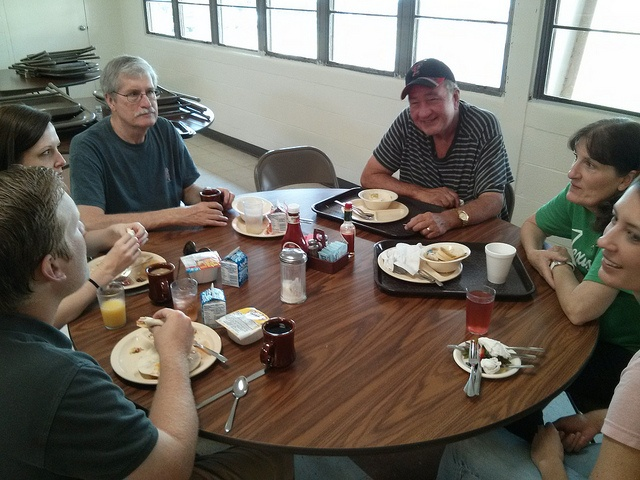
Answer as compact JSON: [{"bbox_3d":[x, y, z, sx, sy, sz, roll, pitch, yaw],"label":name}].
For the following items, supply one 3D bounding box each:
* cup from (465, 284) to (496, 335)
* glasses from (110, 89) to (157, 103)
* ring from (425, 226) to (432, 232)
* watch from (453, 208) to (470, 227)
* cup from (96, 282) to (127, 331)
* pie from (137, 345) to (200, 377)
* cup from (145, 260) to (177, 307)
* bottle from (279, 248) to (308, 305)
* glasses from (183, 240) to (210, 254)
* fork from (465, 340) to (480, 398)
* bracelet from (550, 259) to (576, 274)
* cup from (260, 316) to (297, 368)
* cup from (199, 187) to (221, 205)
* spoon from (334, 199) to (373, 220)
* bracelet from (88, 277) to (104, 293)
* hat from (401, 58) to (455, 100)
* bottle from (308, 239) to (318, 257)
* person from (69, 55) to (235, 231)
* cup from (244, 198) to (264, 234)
[{"bbox_3d":[0.564,0.249,1.623,0.105,0.154,0.104,-1,22,0],"label":"cup"},{"bbox_3d":[-1.019,-0.787,2.512,0.219,0.059,0.135,-10,27,-24],"label":"glasses"},{"bbox_3d":[0.523,-0.051,2.186,0.018,0.006,0.025,16,32,28],"label":"ring"},{"bbox_3d":[0.732,-0.117,2.316,0.051,0.079,0.084,-15,67,-1],"label":"watch"},{"bbox_3d":[-0.744,0.240,1.635,0.092,0.136,0.091,1,21,0],"label":"cup"},{"bbox_3d":[-0.496,0.381,1.456,0.092,0.023,0.124,39,45,27],"label":"pie"},{"bbox_3d":[-0.599,0.179,1.731,0.093,0.129,0.138,-8,22,-23],"label":"cup"},{"bbox_3d":[-0.108,0.144,1.777,0.110,0.183,0.114,0,9,0],"label":"bottle"},{"bbox_3d":[-0.553,0.035,1.994,0.083,0.029,0.071,2,16,-6],"label":"glasses"},{"bbox_3d":[0.484,0.402,1.436,0.036,0.028,0.253,0,25,16],"label":"fork"},{"bbox_3d":[1.017,0.114,1.907,0.051,0.051,0.020,-18,-18,6],"label":"bracelet"},{"bbox_3d":[-0.115,0.330,1.488,0.105,0.144,0.155,8,32,17],"label":"cup"},{"bbox_3d":[-0.566,-0.230,2.380,0.069,0.095,0.108,-3,26,-11],"label":"cup"},{"bbox_3d":[0.176,-0.166,2.411,0.072,0.035,0.267,-29,35,-27],"label":"spoon"},{"bbox_3d":[-0.840,0.168,1.704,0.054,0.052,0.013,36,75,16],"label":"bracelet"},{"bbox_3d":[0.617,-0.948,2.660,0.391,0.207,0.277,-17,8,-42],"label":"hat"},{"bbox_3d":[-0.030,0.037,1.949,0.042,0.061,0.041,1,32,-1],"label":"bottle"},{"bbox_3d":[-0.945,-0.454,2.590,0.792,1.008,0.837,19,26,23],"label":"person"},{"bbox_3d":[-0.320,-0.107,2.214,0.091,0.143,0.093,1,15,0],"label":"cup"}]
